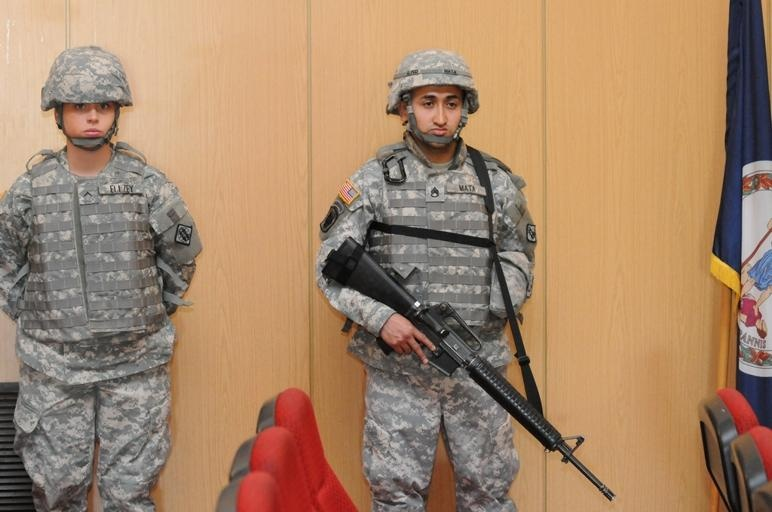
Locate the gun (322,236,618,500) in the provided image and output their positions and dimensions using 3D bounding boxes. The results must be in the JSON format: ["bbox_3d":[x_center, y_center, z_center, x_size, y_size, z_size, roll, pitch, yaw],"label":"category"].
[{"bbox_3d":[0.440,0.612,4.631,0.490,1.864,0.248,-39,11,38],"label":"gun"}]

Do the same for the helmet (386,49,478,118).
[{"bbox_3d":[0.212,-0.912,4.858,0.478,0.338,0.504,-5,16,-27],"label":"helmet"}]

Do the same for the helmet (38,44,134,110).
[{"bbox_3d":[-1.578,-0.947,5.000,0.484,0.342,0.512,-6,24,-26],"label":"helmet"}]
